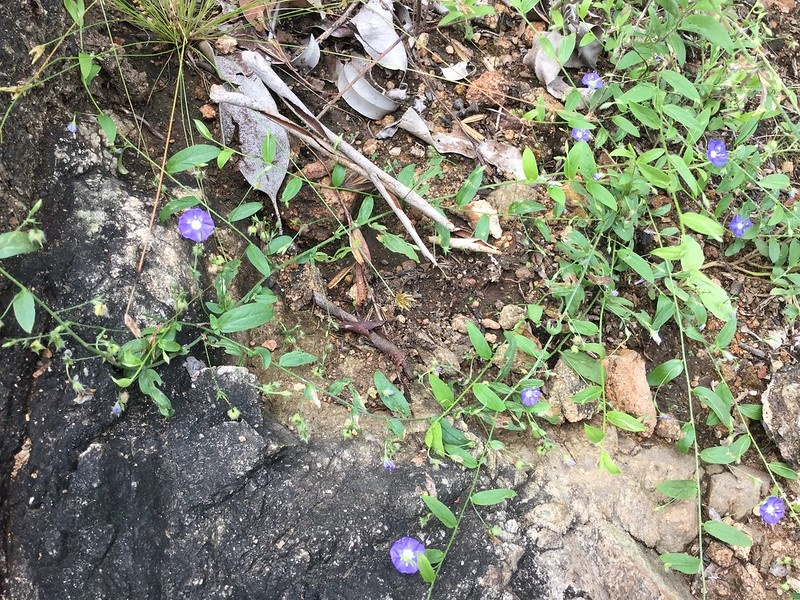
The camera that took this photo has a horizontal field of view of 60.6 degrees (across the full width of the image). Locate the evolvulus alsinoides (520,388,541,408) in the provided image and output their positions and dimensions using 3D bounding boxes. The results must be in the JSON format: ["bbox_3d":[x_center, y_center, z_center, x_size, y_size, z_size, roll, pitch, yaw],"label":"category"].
[{"bbox_3d":[0.508,0.385,2.657,0.078,0.065,0.056,3,50,-16],"label":"evolvulus alsinoides"}]
